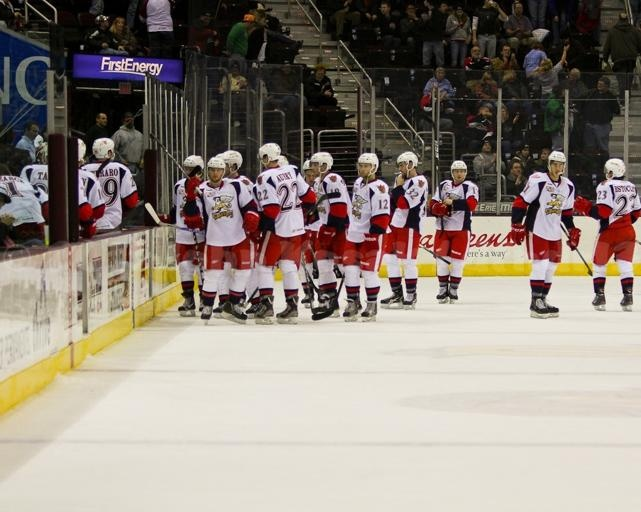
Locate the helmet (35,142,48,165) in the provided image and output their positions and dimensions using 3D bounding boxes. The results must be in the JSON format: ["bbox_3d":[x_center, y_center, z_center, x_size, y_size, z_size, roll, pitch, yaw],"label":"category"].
[{"bbox_3d":[-2.676,-1.000,8.419,0.087,0.205,0.348,-2,7,-21],"label":"helmet"}]

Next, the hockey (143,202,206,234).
[{"bbox_3d":[-1.827,-0.425,10.383,0.452,0.124,0.431,0,0,-24],"label":"hockey"}]

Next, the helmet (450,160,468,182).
[{"bbox_3d":[1.914,-1.202,12.457,0.243,0.340,0.347,-2,7,6],"label":"helmet"}]

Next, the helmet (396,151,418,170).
[{"bbox_3d":[1.177,-1.315,11.764,0.278,0.266,0.219,7,-8,8],"label":"helmet"}]

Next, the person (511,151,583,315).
[{"bbox_3d":[2.769,-0.283,10.893,0.779,2.024,0.528,0,6,0],"label":"person"}]

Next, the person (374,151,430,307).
[{"bbox_3d":[1.120,-0.368,11.934,0.620,2.135,0.612,4,10,14],"label":"person"}]

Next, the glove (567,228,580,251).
[{"bbox_3d":[3.258,-0.228,11.283,0.088,0.233,0.231,7,6,10],"label":"glove"}]

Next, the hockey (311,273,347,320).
[{"bbox_3d":[0.071,0.489,10.565,0.352,0.554,0.317,-1,7,-12],"label":"hockey"}]

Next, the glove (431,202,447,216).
[{"bbox_3d":[1.641,-0.653,12.046,0.170,0.172,0.194,-2,0,-19],"label":"glove"}]

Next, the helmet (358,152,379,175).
[{"bbox_3d":[0.628,-1.136,10.629,0.309,0.298,0.250,0,-1,-12],"label":"helmet"}]

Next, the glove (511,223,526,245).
[{"bbox_3d":[2.477,-0.284,10.996,0.183,0.255,0.107,1,3,-2],"label":"glove"}]

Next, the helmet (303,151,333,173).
[{"bbox_3d":[-0.023,-1.215,11.229,0.320,0.256,0.253,1,6,18],"label":"helmet"}]

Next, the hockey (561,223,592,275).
[{"bbox_3d":[4.197,-0.148,14.352,0.371,0.263,2.540,19,15,8],"label":"hockey"}]

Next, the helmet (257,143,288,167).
[{"bbox_3d":[-0.545,-1.200,10.254,0.375,0.286,0.272,6,13,12],"label":"helmet"}]

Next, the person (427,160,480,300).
[{"bbox_3d":[1.870,-0.433,12.348,0.622,2.029,0.572,6,10,17],"label":"person"}]
